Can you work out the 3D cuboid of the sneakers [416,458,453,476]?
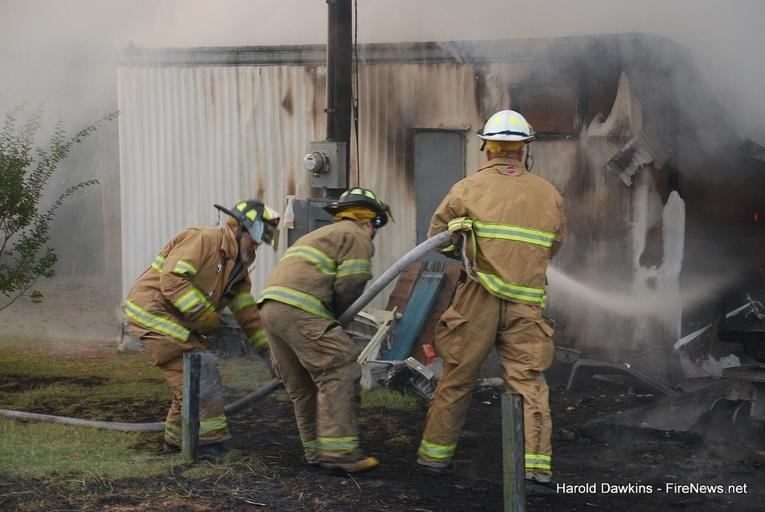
[{"bbox_3d":[0.512,2.095,10.016,0.417,0.173,0.134,3,10,-25],"label":"sneakers"}]

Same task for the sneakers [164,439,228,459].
[{"bbox_3d":[-1.907,1.982,10.194,0.365,0.148,0.272,-1,-1,20],"label":"sneakers"}]

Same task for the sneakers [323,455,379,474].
[{"bbox_3d":[-0.319,2.059,10.017,0.563,0.237,0.188,-3,0,-7],"label":"sneakers"}]

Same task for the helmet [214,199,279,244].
[{"bbox_3d":[-1.402,-0.415,10.451,0.627,0.356,0.412,30,-6,-6],"label":"helmet"}]

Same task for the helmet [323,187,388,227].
[{"bbox_3d":[-0.226,-0.566,10.288,0.665,0.303,0.544,8,2,-18],"label":"helmet"}]

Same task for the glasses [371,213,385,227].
[{"bbox_3d":[-0.051,-0.383,10.206,0.133,0.123,0.042,0,12,-2],"label":"glasses"}]

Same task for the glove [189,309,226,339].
[{"bbox_3d":[-1.841,0.685,10.327,0.303,0.242,0.256,12,12,37],"label":"glove"}]

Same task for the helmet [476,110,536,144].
[{"bbox_3d":[1.262,-1.327,10.191,0.588,0.291,0.687,2,16,3],"label":"helmet"}]

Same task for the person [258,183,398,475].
[{"bbox_3d":[-0.639,0.900,9.956,1.103,2.376,0.780,-1,14,-3],"label":"person"}]
